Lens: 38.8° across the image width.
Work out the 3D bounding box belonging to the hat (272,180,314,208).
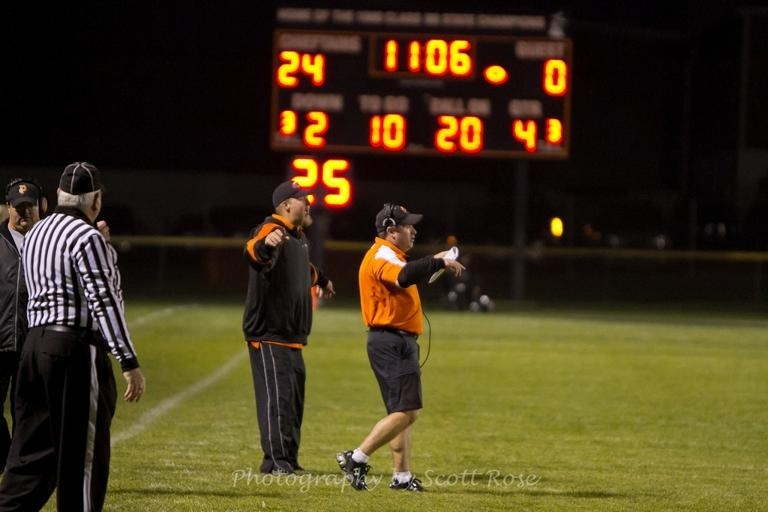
[{"bbox_3d":[-0.988,-0.670,11.631,0.347,0.188,0.249,-12,8,1],"label":"hat"}]

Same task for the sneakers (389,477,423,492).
[{"bbox_3d":[0.239,2.366,11.224,0.354,0.149,0.137,3,-2,1],"label":"sneakers"}]

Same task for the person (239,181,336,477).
[{"bbox_3d":[-1.135,0.760,11.552,0.624,3.074,1.036,2,7,13],"label":"person"}]

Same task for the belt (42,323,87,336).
[{"bbox_3d":[-2.911,0.683,9.922,0.372,0.114,0.036,0,6,-2],"label":"belt"}]

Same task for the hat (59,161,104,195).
[{"bbox_3d":[-2.831,-0.741,10.277,0.400,0.266,0.570,6,8,1],"label":"hat"}]

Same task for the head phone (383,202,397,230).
[{"bbox_3d":[0.080,-0.418,11.275,0.171,0.201,0.242,3,23,16],"label":"head phone"}]

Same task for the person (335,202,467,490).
[{"bbox_3d":[0.106,0.944,11.194,1.126,2.908,1.007,-2,7,-17],"label":"person"}]

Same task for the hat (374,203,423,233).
[{"bbox_3d":[0.160,-0.405,11.290,0.426,0.223,0.273,-7,9,-2],"label":"hat"}]
